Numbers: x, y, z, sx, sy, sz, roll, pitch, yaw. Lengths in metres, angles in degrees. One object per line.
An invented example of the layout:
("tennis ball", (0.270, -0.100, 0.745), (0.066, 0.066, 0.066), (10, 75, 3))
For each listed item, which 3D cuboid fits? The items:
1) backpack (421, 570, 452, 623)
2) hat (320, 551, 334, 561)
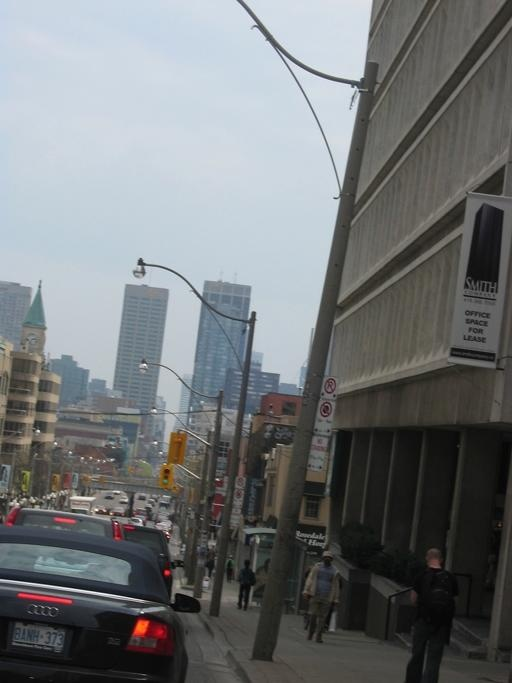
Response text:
("backpack", (2.087, 2.907, 8.106), (0.332, 0.587, 0.173), (9, -10, 13))
("hat", (1.495, 4.472, 14.968), (0.308, 0.145, 0.324), (2, -9, 8))
